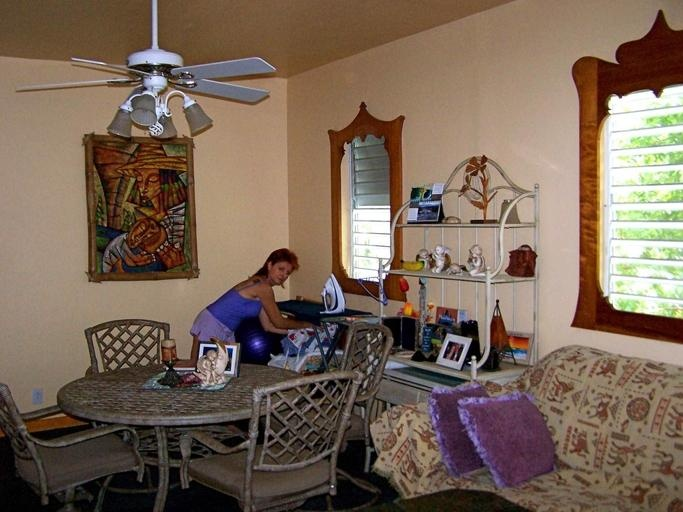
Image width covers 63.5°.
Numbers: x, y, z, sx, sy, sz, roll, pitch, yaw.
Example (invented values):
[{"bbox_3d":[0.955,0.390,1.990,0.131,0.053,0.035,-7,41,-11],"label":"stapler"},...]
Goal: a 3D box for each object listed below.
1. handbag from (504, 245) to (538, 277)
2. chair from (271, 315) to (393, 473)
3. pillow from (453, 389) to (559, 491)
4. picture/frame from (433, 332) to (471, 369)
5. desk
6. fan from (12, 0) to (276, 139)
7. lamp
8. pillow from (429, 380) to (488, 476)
[{"bbox_3d":[1.188,0.025,3.689,0.188,0.208,0.118,1,23,-15],"label":"handbag"},{"bbox_3d":[0.137,0.951,4.273,0.867,1.336,0.837,1,-1,-37],"label":"chair"},{"bbox_3d":[0.889,0.980,2.968,0.436,0.460,0.108,-4,-32,-25],"label":"pillow"},{"bbox_3d":[0.766,0.651,3.758,0.053,0.215,0.200,29,-16,-35],"label":"picture/frame"},{"bbox_3d":[-1.052,0.841,3.226,1.113,0.669,1.145,1,-2,-10],"label":"desk"},{"bbox_3d":[-1.590,-1.417,4.109,1.014,0.767,0.926,1,-8,-32],"label":"fan"},{"bbox_3d":[-1.006,-0.817,3.042,0.547,0.370,0.571,-6,17,-18],"label":"lamp"},{"bbox_3d":[0.617,0.949,3.031,0.376,0.402,0.119,1,-24,-19],"label":"pillow"}]
